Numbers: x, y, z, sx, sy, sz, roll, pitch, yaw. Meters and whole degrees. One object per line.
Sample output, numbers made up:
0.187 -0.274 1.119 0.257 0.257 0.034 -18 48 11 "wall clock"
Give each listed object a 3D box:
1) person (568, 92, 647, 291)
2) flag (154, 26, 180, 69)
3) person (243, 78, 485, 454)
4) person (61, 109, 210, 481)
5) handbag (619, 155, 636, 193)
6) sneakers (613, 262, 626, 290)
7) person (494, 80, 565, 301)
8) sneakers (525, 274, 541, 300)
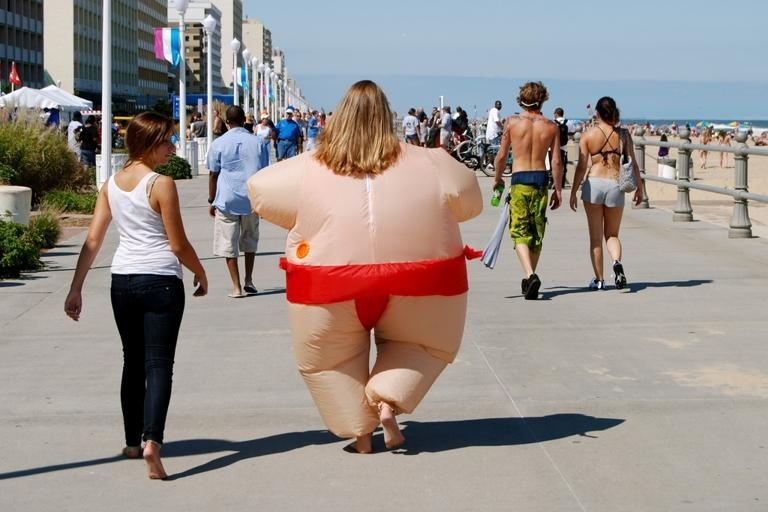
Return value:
2.605 -0.726 11.358 0.752 2.189 0.718 3 11 19 "person"
-6.762 -6.469 30.015 0.733 1.110 1.357 -3 12 -12 "flag"
-0.095 0.117 6.635 1.443 2.530 0.501 1 11 5 "person"
-1.587 0.227 6.614 0.584 2.357 0.829 -9 14 -38 "person"
2.910 -0.952 11.353 0.158 0.427 0.337 6 13 29 "handbag"
2.741 0.232 11.134 0.135 0.338 0.147 -5 -7 6 "sneakers"
1.683 -0.792 11.192 0.785 2.418 1.441 2 11 10 "person"
1.687 0.344 10.832 0.147 0.301 0.224 1 11 7 "sneakers"
